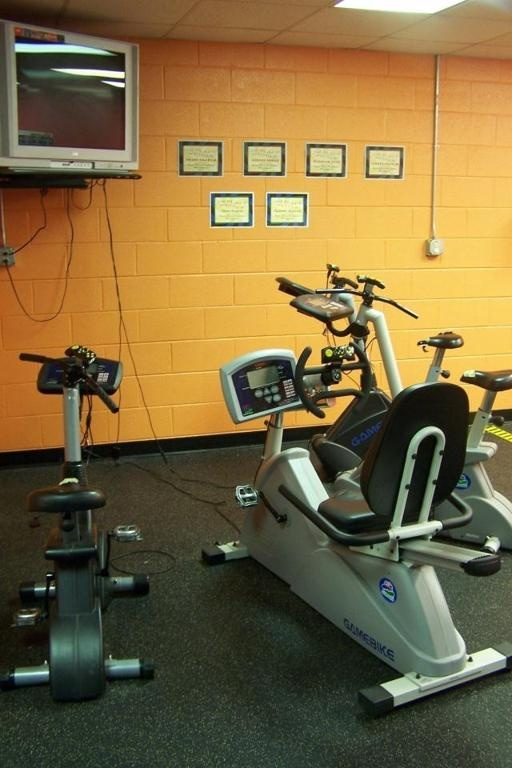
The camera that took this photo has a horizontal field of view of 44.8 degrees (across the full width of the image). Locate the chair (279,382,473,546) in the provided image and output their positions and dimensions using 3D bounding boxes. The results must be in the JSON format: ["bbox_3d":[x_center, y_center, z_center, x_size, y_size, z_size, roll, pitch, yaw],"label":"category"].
[{"bbox_3d":[0.400,0.216,1.932,0.335,0.484,0.436,-6,12,-29],"label":"chair"}]
